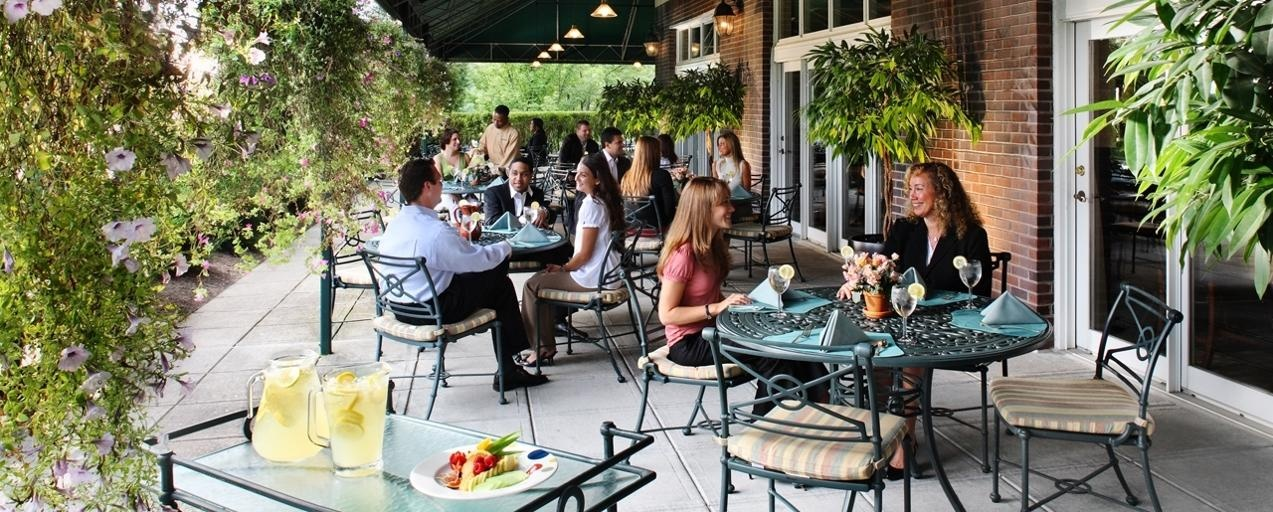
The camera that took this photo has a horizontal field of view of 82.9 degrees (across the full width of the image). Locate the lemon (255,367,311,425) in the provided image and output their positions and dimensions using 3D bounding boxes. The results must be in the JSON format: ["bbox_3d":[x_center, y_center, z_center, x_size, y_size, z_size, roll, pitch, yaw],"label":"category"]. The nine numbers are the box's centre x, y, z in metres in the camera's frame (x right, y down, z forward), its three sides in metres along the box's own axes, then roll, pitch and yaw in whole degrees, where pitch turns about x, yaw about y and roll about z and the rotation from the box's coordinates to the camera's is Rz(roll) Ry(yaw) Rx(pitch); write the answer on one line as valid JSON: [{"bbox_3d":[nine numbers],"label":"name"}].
[{"bbox_3d":[-1.948,0.775,4.165,0.416,0.297,0.302,0,11,-18],"label":"lemon"}]

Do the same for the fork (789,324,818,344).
[{"bbox_3d":[1.191,0.550,5.088,0.237,0.064,0.074,-19,4,-41],"label":"fork"}]

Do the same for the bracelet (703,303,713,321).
[{"bbox_3d":[0.543,0.444,5.605,0.079,0.100,0.114,2,3,-12],"label":"bracelet"}]

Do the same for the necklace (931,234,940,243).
[{"bbox_3d":[2.584,-0.149,6.249,0.068,0.052,0.022,0,-17,27],"label":"necklace"}]

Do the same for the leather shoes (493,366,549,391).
[{"bbox_3d":[-1.123,1.158,6.794,0.559,0.161,0.200,-3,5,-22],"label":"leather shoes"}]

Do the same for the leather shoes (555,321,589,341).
[{"bbox_3d":[-0.717,0.789,7.628,0.185,0.181,0.532,-16,9,-39],"label":"leather shoes"}]

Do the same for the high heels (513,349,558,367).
[{"bbox_3d":[-1.026,1.011,7.137,0.496,0.171,0.147,5,-2,-17],"label":"high heels"}]
